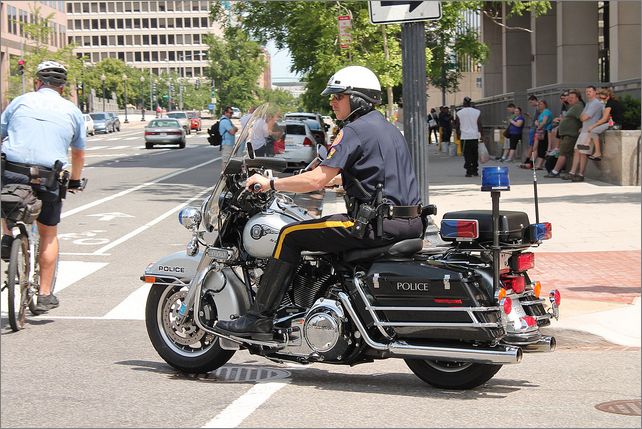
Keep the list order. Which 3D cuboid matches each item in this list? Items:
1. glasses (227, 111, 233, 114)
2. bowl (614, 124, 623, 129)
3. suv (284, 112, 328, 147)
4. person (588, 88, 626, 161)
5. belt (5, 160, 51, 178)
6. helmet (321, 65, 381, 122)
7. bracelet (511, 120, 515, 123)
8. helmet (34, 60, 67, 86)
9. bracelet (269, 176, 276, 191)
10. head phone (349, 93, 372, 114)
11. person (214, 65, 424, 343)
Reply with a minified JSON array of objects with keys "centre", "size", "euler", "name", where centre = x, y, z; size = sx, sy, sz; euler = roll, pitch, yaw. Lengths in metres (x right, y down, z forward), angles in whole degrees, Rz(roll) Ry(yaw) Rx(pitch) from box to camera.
[{"centre":[-2.665,-3.020,19.729],"size":[0.183,0.041,0.176],"euler":[0,0,41],"name":"glasses"},{"centre":[7.905,-2.345,17.789],"size":[0.191,0.068,0.239],"euler":[1,4,26],"name":"bowl"},{"centre":[-0.669,-4.227,33.028],"size":[2.269,1.243,4.140],"euler":[0,9,6],"name":"suv"},{"centre":[7.734,-2.410,18.073],"size":[0.836,1.962,0.826],"euler":[2,14,19],"name":"person"},{"centre":[-3.163,-0.494,7.206],"size":[0.460,0.182,0.104],"euler":[-4,13,-17],"name":"belt"},{"centre":[0.361,-1.057,5.771],"size":[0.652,0.393,0.450],"euler":[0,5,6],"name":"helmet"},{"centre":[7.410,-3.589,25.777],"size":[0.123,0.028,0.097],"euler":[1,48,38],"name":"bracelet"},{"centre":[-3.057,-1.609,7.539],"size":[0.318,0.275,0.346],"euler":[2,24,-34],"name":"helmet"},{"centre":[-0.402,-0.257,5.474],"size":[0.049,0.081,0.114],"euler":[-3,11,-5],"name":"bracelet"},{"centre":[0.322,-0.929,5.632],"size":[0.165,0.149,0.199],"euler":[7,18,-42],"name":"head phone"},{"centre":[0.068,-0.100,5.625],"size":[1.576,2.257,0.659],"euler":[-3,13,-3],"name":"person"}]
